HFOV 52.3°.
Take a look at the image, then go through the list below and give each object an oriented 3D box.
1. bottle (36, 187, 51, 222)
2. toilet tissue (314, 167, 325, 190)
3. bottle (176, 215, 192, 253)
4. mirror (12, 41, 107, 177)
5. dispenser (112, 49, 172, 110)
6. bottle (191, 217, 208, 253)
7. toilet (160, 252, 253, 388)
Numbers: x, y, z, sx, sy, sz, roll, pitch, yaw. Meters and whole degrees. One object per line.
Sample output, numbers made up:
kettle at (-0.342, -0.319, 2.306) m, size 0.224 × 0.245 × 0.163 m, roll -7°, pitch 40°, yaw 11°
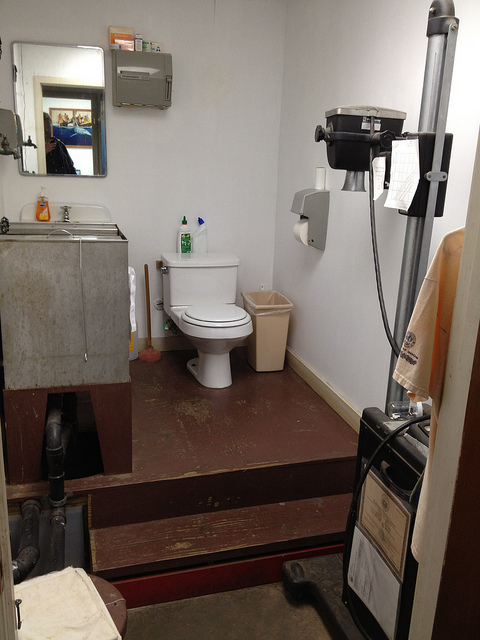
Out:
bottle at (-1.166, -0.678, 2.889) m, size 0.079 × 0.195 × 0.110 m, roll -3°, pitch 12°, yaw -20°
toilet tissue at (0.396, -0.697, 2.427) m, size 0.046 × 0.103 × 0.098 m, roll 3°, pitch 12°, yaw 11°
bottle at (-0.366, -0.553, 3.219) m, size 0.095 × 0.226 × 0.057 m, roll -1°, pitch 10°, yaw -9°
mirror at (-1.032, -1.210, 2.809) m, size 0.418 × 0.780 × 0.022 m, roll -3°, pitch 17°, yaw -30°
dispenser at (-0.568, -1.389, 2.833) m, size 0.346 × 0.280 × 0.096 m, roll -2°, pitch 11°, yaw -13°
bottle at (-0.273, -0.555, 3.241) m, size 0.105 × 0.218 × 0.053 m, roll -3°, pitch 11°, yaw -20°
toilet at (-0.217, -0.028, 2.966) m, size 0.418 × 0.879 × 0.760 m, roll -3°, pitch 15°, yaw -15°
